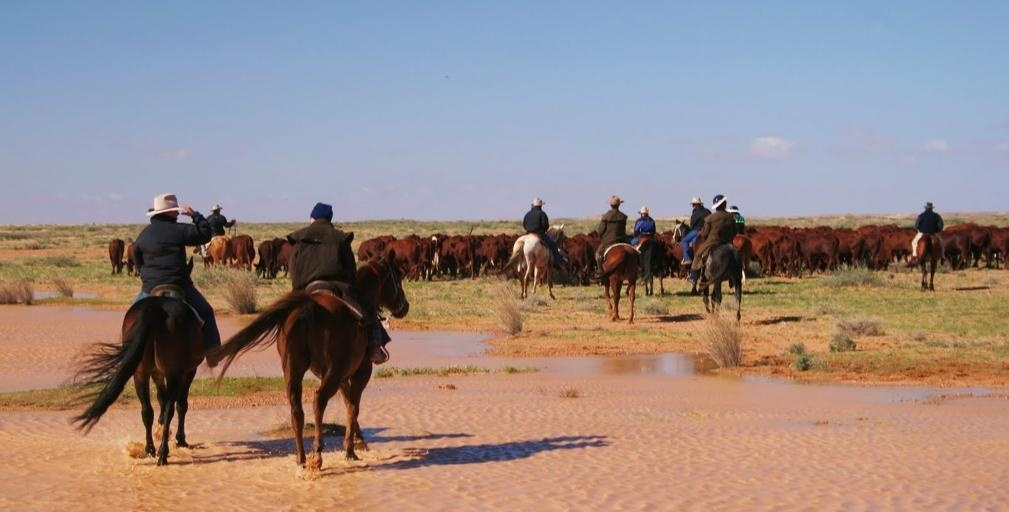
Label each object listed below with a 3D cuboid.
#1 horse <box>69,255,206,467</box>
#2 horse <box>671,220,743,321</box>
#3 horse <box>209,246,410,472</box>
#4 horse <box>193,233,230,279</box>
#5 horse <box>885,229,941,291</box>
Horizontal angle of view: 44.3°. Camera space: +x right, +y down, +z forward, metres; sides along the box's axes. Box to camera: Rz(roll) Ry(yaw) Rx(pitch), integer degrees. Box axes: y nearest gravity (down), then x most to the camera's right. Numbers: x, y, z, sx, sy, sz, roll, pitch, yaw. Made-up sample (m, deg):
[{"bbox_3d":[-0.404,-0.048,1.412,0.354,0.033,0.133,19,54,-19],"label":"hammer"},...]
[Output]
[{"bbox_3d":[-9.802,2.824,35.231,3.129,5.142,9.116,-3,-5,-6],"label":"horse"},{"bbox_3d":[7.597,0.521,46.241,1.867,3.962,5.312,1,0,-8],"label":"horse"},{"bbox_3d":[-4.984,2.846,33.633,2.479,5.707,9.714,2,2,18],"label":"horse"},{"bbox_3d":[-14.349,-0.107,60.857,1.052,1.834,3.359,4,-5,-41],"label":"horse"},{"bbox_3d":[17.709,0.118,52.171,1.060,2.304,5.234,0,1,18],"label":"horse"}]
